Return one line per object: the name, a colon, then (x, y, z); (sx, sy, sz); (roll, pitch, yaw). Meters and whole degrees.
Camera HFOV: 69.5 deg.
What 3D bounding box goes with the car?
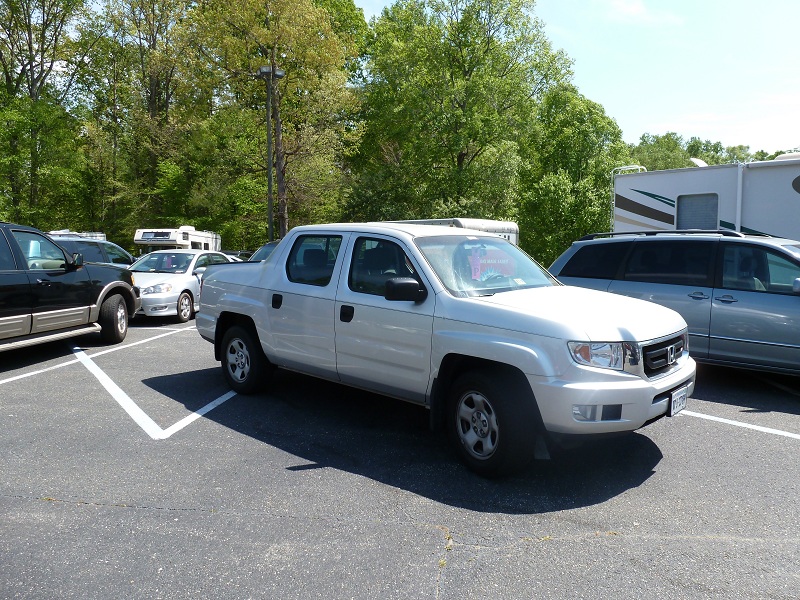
car: (0.078, 0.368, 6.418); (5.106, 1.753, 2.368); (5, 7, 37)
